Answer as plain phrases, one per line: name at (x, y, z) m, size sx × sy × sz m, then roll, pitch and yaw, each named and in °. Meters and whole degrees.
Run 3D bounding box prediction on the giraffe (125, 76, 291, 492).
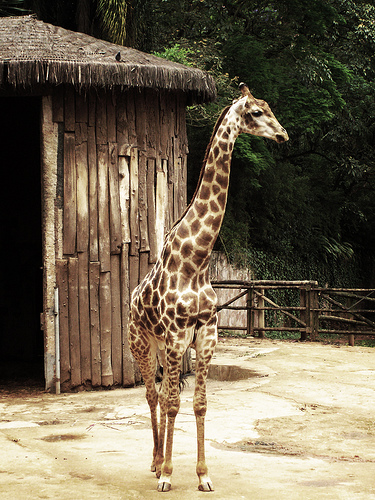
giraffe at (0.011, 0.211, 6.885) m, size 0.970 × 2.777 × 2.897 m, roll 1°, pitch -2°, yaw -4°
